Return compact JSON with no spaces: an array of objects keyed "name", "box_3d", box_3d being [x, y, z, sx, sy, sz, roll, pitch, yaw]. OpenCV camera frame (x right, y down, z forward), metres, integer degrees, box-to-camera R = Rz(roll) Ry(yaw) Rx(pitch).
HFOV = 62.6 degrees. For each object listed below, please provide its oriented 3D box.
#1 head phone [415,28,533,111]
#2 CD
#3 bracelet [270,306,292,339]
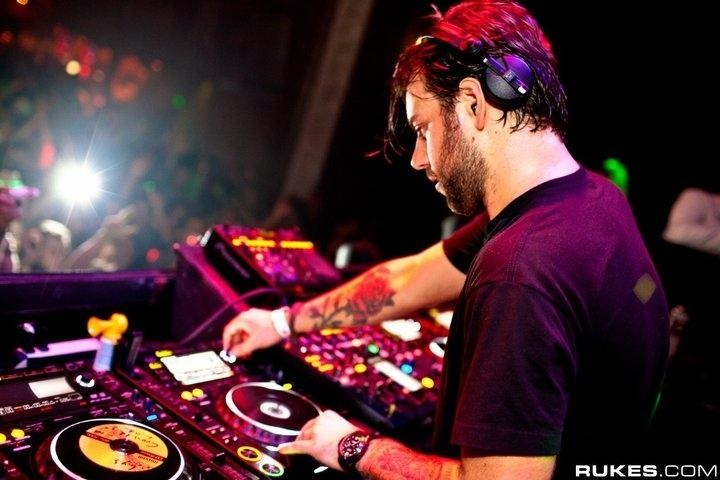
[{"name":"head phone","box_3d":[0.409,-0.500,1.987,0.368,0.167,0.425,39,8,4]},{"name":"CD","box_3d":[-0.676,0.598,1.714,0.242,0.087,0.140,2,7,-7]},{"name":"bracelet","box_3d":[-0.292,0.307,2.232,0.085,0.101,0.093,-4,50,-12]}]
